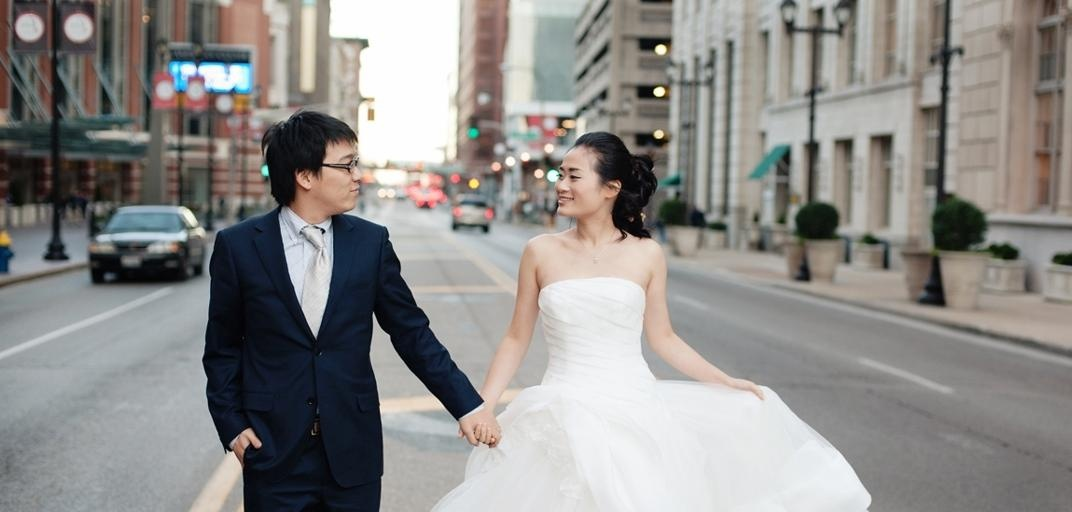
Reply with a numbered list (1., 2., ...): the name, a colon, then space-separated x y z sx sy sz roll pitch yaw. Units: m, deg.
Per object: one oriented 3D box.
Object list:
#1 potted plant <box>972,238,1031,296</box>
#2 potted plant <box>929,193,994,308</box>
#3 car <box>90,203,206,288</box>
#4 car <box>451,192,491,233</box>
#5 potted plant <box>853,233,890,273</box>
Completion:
1. potted plant: 13.504 0.336 25.093 1.271 1.405 1.201 1 3 -31
2. potted plant: 11.998 -0.105 24.525 1.406 3.048 0.980 3 8 22
3. car: -13.690 -0.358 30.382 2.912 2.541 3.818 7 10 44
4. car: -5.113 -3.280 68.328 2.593 2.073 5.680 1 6 -5
5. potted plant: 10.326 -0.024 26.903 1.094 0.816 1.092 0 3 4
